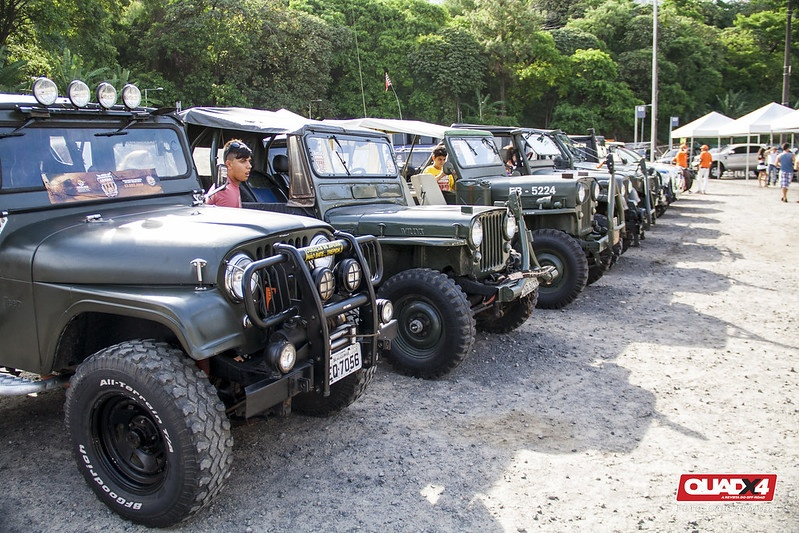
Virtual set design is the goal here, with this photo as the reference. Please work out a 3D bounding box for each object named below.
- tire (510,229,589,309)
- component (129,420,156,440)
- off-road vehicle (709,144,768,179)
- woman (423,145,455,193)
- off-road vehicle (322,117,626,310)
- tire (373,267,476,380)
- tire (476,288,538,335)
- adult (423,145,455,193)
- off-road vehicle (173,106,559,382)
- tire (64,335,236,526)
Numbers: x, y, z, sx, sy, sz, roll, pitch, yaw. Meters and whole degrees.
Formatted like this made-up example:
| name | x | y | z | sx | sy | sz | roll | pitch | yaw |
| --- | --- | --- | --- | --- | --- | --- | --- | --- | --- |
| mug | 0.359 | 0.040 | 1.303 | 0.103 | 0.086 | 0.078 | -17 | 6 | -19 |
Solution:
| name | x | y | z | sx | sy | sz | roll | pitch | yaw |
| --- | --- | --- | --- | --- | --- | --- | --- | --- | --- |
| tire | 2.135 | 0.026 | 8.213 | 1.100 | 1.119 | 0.366 | -11 | 3 | 38 |
| component | -1.779 | 1.122 | 4.034 | 0.144 | 0.147 | 0.042 | 0 | 8 | 16 |
| off-road vehicle | 17.660 | -5.541 | 30.590 | 2.893 | 1.354 | 1.791 | 2 | 11 | 7 |
| woman | 0.602 | -1.392 | 8.579 | 0.438 | 0.683 | 0.375 | -8 | -2 | 2 |
| off-road vehicle | 1.660 | -1.006 | 9.439 | 4.594 | 2.739 | 2.383 | 4 | 18 | 26 |
| tire | 0.241 | 0.593 | 6.065 | 1.145 | 1.165 | 0.351 | 6 | 11 | 30 |
| tire | 1.282 | 0.592 | 6.911 | 0.588 | 0.184 | 0.594 | -17 | 5 | 6 |
| adult | 0.612 | -1.401 | 8.560 | 0.442 | 0.678 | 0.381 | -12 | 9 | -25 |
| off-road vehicle | -0.575 | -0.652 | 7.498 | 4.998 | 2.984 | 2.585 | 6 | 15 | 27 |
| tire | -1.712 | 1.146 | 4.016 | 1.032 | 1.053 | 0.332 | 19 | 13 | 17 |
